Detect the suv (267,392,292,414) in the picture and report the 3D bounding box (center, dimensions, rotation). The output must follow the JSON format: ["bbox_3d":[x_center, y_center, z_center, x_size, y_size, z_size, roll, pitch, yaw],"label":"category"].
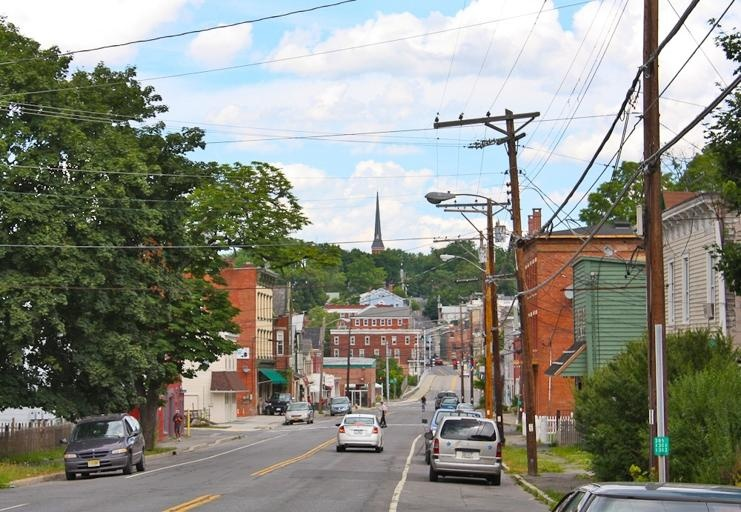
[{"bbox_3d":[-7.660,12.391,107.347,1.585,1.326,2.519,0,-8,1],"label":"suv"}]

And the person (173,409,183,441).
[{"bbox_3d":[-10.803,9.523,71.923,0.431,1.550,1.250,1,-13,-13],"label":"person"}]

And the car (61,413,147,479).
[{"bbox_3d":[-10.842,7.715,52.297,3.299,2.641,1.902,5,-14,-29],"label":"car"}]

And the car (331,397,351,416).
[{"bbox_3d":[-2.466,12.688,105.772,1.433,1.191,2.811,0,7,-1],"label":"car"}]

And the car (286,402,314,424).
[{"bbox_3d":[-5.055,11.244,92.062,1.698,1.749,2.407,-6,-13,16],"label":"car"}]

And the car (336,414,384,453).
[{"bbox_3d":[-0.506,8.201,59.601,2.027,1.800,0.879,-1,-12,-5],"label":"car"}]
